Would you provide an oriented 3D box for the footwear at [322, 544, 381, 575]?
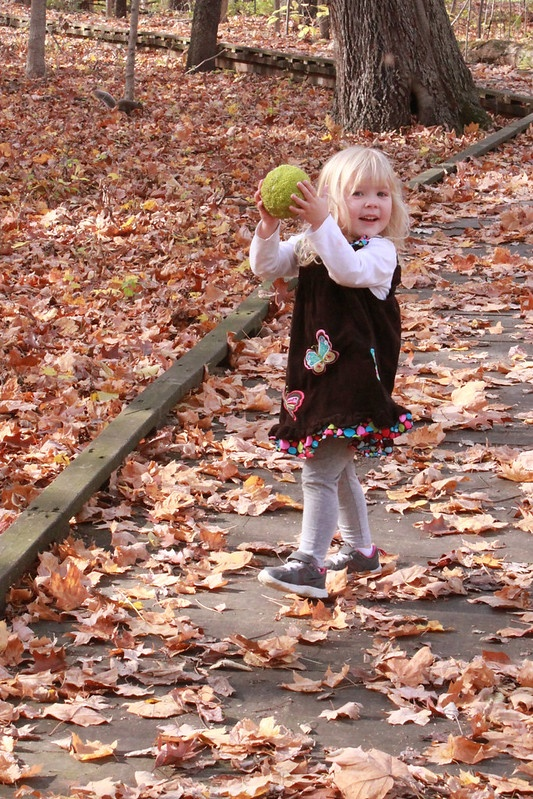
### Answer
[{"bbox_3d":[0.270,0.506,2.551,0.227,0.080,0.069,4,-5,-5],"label":"footwear"}]

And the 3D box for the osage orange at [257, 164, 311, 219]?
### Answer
[{"bbox_3d":[0.054,-0.560,2.267,0.156,0.140,0.160,-1,-5,32],"label":"osage orange"}]

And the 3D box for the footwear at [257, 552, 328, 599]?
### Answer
[{"bbox_3d":[0.083,0.534,2.437,0.198,0.097,0.345,-4,13,3],"label":"footwear"}]

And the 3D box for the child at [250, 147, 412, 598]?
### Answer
[{"bbox_3d":[0.206,-0.108,2.477,0.591,1.238,0.534,15,22,40],"label":"child"}]

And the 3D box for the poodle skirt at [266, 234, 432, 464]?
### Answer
[{"bbox_3d":[0.225,-0.171,2.392,0.455,0.595,0.651,8,22,15],"label":"poodle skirt"}]
